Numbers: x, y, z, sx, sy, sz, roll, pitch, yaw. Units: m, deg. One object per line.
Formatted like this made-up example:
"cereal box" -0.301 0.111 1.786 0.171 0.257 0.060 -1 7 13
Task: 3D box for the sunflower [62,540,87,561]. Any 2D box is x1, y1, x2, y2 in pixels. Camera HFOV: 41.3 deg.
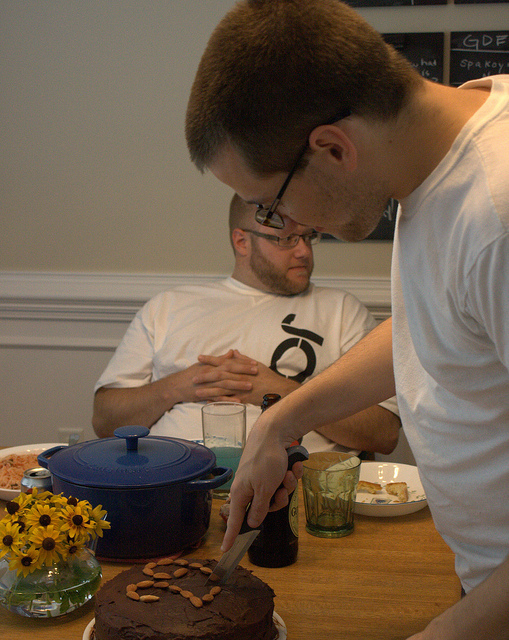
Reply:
"sunflower" -0.232 0.296 0.875 0.028 0.024 0.011 -5 3 -36

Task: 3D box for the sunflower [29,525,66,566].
"sunflower" -0.260 0.282 0.855 0.049 0.018 0.049 0 -1 -28

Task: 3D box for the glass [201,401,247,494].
"glass" -0.053 0.231 1.280 0.091 0.173 0.079 0 -2 29

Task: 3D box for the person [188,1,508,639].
"person" 0.182 -0.006 0.896 0.353 0.786 0.425 -7 9 -44

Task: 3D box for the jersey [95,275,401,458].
"jersey" -0.009 0.044 1.995 1.038 0.629 0.485 0 -2 12

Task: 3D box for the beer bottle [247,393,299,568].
"beer bottle" 0.025 0.292 1.046 0.055 0.140 0.057 1 14 0

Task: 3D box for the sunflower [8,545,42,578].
"sunflower" -0.288 0.306 0.852 0.037 0.050 0.028 -1 6 -10

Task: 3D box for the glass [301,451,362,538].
"glass" 0.125 0.296 1.138 0.095 0.129 0.083 1 6 13

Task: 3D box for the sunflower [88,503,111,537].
"sunflower" -0.213 0.271 0.918 0.013 0.038 0.037 -13 41 22

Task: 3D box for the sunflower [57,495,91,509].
"sunflower" -0.244 0.246 0.907 0.027 0.009 0.025 14 1 -16

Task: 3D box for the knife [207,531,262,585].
"knife" -0.028 0.316 0.897 0.026 0.007 0.090 34 44 15
